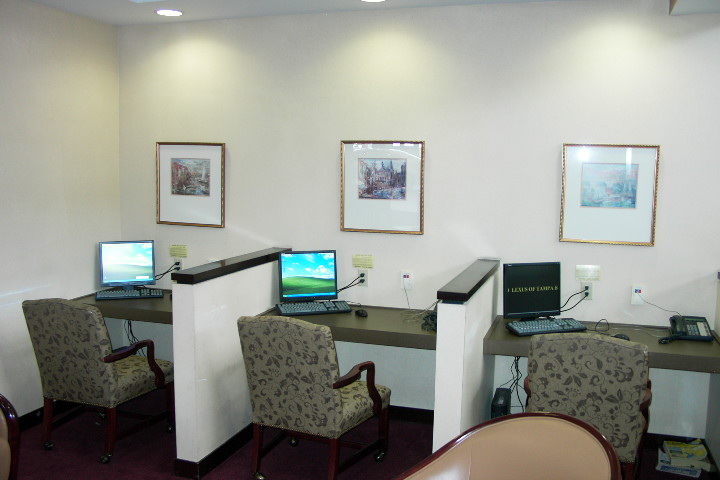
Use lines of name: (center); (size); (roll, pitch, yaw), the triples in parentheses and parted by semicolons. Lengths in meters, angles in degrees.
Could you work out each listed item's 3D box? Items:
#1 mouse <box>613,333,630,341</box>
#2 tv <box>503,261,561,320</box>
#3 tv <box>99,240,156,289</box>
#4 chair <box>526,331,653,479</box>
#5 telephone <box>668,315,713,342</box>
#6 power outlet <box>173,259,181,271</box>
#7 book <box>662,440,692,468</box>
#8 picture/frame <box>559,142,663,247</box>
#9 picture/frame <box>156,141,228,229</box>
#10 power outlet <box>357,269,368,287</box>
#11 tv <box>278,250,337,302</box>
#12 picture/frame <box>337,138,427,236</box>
mouse: (1.840, 0.681, 3.726); (0.117, 0.034, 0.117); (1, 5, -2)
tv: (1.388, 0.410, 4.276); (0.460, 0.427, 0.067); (-1, 0, -7)
tv: (-2.193, 0.227, 4.984); (0.441, 0.399, 0.046); (0, -3, -8)
chair: (1.482, 1.011, 3.839); (0.835, 1.199, 0.897); (1, 3, 20)
telephone: (2.519, 0.669, 4.025); (0.219, 0.086, 0.233); (-1, 27, 19)
power outlet: (-1.766, 0.246, 5.124); (0.048, 0.061, 0.159); (3, 28, -8)
book: (2.506, 1.674, 4.166); (0.194, 0.072, 0.278); (6, 13, 23)
picture/frame: (2.058, -0.393, 4.264); (0.825, 0.941, 0.068); (1, 6, 12)
picture/frame: (-1.557, -0.551, 5.026); (0.810, 0.912, 0.062); (1, 2, 12)
power outlet: (0.032, 0.334, 4.748); (0.095, 0.147, 0.031); (4, 12, 15)
tv: (-0.469, 0.326, 4.643); (0.437, 0.382, 0.035); (0, 0, -6)
picture/frame: (0.230, -0.490, 4.638); (0.839, 0.882, 0.038); (1, 7, 12)
